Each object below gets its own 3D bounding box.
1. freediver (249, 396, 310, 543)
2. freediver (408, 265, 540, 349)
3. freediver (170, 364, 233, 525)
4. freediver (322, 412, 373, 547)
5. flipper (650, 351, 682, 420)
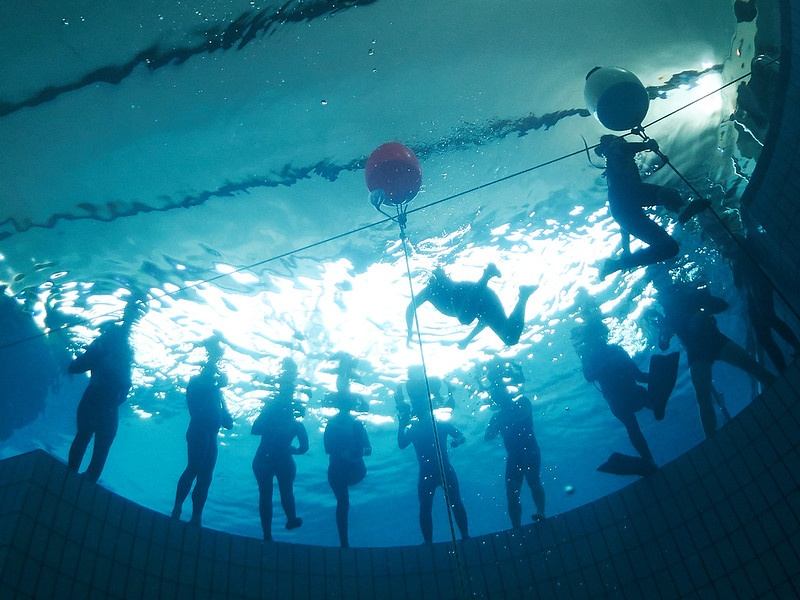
[{"bbox_3d":[-1.955,2.622,9.785,0.903,2.828,1.350,6,-43,-13],"label":"freediver"},{"bbox_3d":[1.106,0.108,8.703,1.650,0.974,1.055,26,-58,-29],"label":"freediver"},{"bbox_3d":[-2.904,2.084,8.956,0.686,2.855,0.948,-1,-42,-5],"label":"freediver"},{"bbox_3d":[-0.845,2.779,9.954,0.689,2.826,1.128,2,-42,-9],"label":"freediver"},{"bbox_3d":[3.516,1.076,8.200,0.437,0.173,0.992,2,-70,32],"label":"flipper"}]
